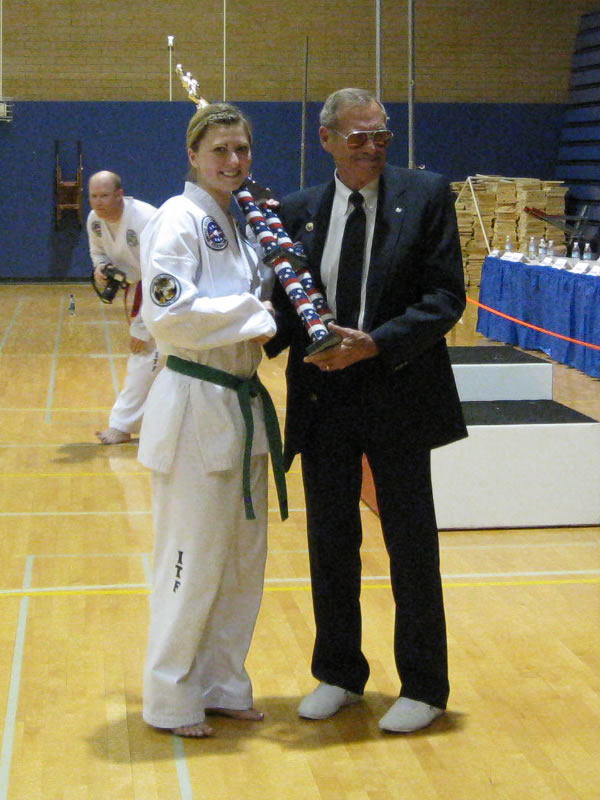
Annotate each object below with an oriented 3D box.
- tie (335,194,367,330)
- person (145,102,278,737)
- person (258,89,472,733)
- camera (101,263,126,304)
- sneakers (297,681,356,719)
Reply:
[{"bbox_3d":[0.126,-0.347,1.855,0.066,0.335,0.053,-1,7,-12],"label":"tie"},{"bbox_3d":[-0.204,0.078,1.850,0.391,1.557,0.360,-2,7,-19],"label":"person"},{"bbox_3d":[0.168,0.043,1.958,0.483,1.662,0.439,-2,7,-15],"label":"person"},{"bbox_3d":[-1.250,-0.793,5.103,0.242,0.227,0.112,16,5,17],"label":"camera"},{"bbox_3d":[0.069,0.806,2.012,0.144,0.049,0.067,-4,6,-39],"label":"sneakers"}]
